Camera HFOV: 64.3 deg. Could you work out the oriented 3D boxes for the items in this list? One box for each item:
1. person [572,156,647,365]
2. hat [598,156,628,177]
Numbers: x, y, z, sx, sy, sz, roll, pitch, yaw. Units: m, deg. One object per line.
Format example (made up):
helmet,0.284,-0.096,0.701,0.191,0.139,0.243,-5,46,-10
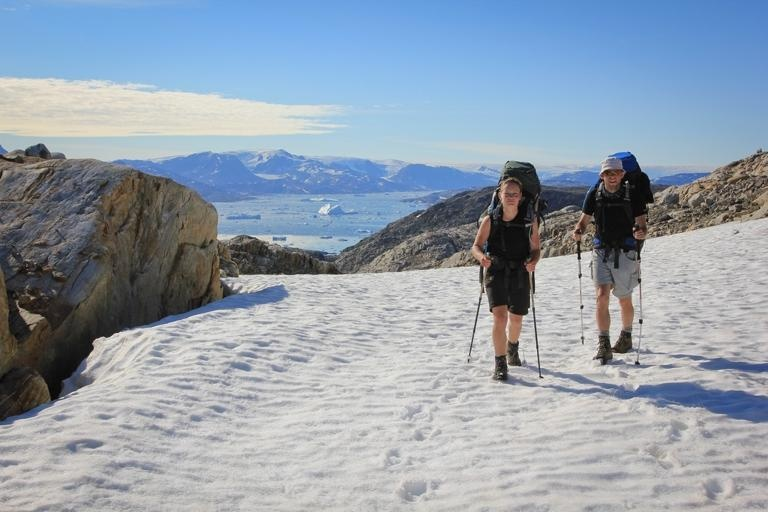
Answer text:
person,3.915,0.069,10.664,1.052,2.621,0.543,6,4,18
hat,3.939,-1.553,10.541,0.417,0.254,0.380,5,4,16
